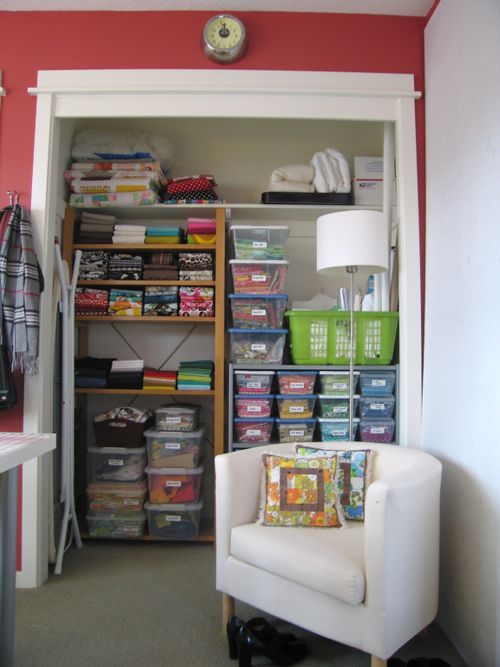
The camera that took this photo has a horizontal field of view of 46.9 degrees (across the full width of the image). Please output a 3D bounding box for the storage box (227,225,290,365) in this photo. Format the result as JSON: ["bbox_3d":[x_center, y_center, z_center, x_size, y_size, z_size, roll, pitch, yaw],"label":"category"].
[{"bbox_3d":[0.047,-0.220,3.164,0.316,0.771,0.321,0,1,0],"label":"storage box"}]

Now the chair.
[{"bbox_3d":[0.337,0.687,2.380,0.884,0.797,0.759,-4,-12,32],"label":"chair"}]

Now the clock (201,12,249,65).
[{"bbox_3d":[-0.128,-1.444,2.823,0.219,0.212,0.087,0,1,-2],"label":"clock"}]

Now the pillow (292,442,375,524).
[{"bbox_3d":[0.340,0.621,2.345,0.279,0.264,0.092,1,-15,7],"label":"pillow"}]

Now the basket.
[{"bbox_3d":[0.479,0.024,2.983,0.459,0.220,0.301,0,-1,0],"label":"basket"}]

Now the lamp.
[{"bbox_3d":[0.496,-0.008,2.718,0.352,1.077,0.451,0,1,36],"label":"lamp"}]
